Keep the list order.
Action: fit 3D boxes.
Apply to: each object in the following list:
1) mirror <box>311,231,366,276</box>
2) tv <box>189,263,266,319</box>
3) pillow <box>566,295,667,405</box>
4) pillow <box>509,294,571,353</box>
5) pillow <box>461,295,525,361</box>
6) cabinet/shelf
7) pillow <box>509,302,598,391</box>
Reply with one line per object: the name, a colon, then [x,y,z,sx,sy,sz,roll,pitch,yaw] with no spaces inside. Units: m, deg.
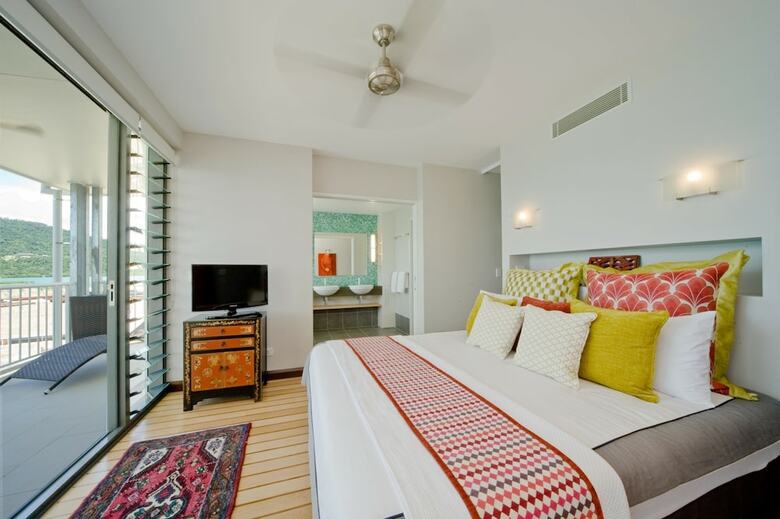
mirror: [-0.913,-0.086,8.049,0.735,0.629,0.098,0,3,-14]
tv: [-1.787,0.333,5.205,0.612,0.428,0.155,0,2,-25]
pillow: [1.757,0.732,3.722,0.257,0.535,0.719,30,-12,-27]
pillow: [1.269,0.560,4.096,0.173,0.402,0.465,20,-6,-19]
pillow: [0.945,0.623,4.367,0.156,0.469,0.499,23,4,-29]
cabinet/shelf: [-1.798,1.099,5.222,0.776,0.858,0.502,-3,-11,-8]
pillow: [1.279,0.621,4.168,0.492,0.792,0.905,-4,5,-35]
